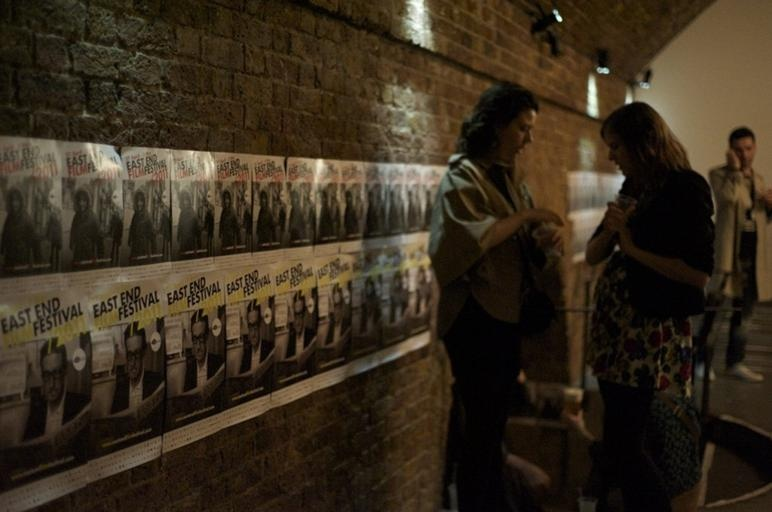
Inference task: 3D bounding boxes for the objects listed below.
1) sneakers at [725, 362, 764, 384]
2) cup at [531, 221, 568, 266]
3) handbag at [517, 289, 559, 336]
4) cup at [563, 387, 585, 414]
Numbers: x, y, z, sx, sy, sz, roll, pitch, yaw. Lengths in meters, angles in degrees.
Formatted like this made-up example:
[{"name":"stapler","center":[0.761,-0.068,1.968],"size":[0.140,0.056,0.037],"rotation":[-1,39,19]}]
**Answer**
[{"name":"sneakers","center":[2.715,0.887,4.671],"size":[0.314,0.125,0.134],"rotation":[9,-15,4]},{"name":"cup","center":[0.998,-0.025,3.807],"size":[0.244,0.357,0.158],"rotation":[1,21,6]},{"name":"handbag","center":[0.916,0.393,3.696],"size":[0.210,0.316,0.066],"rotation":[8,7,30]},{"name":"cup","center":[1.330,1.031,4.366],"size":[0.141,0.213,0.153],"rotation":[7,-2,0]}]
